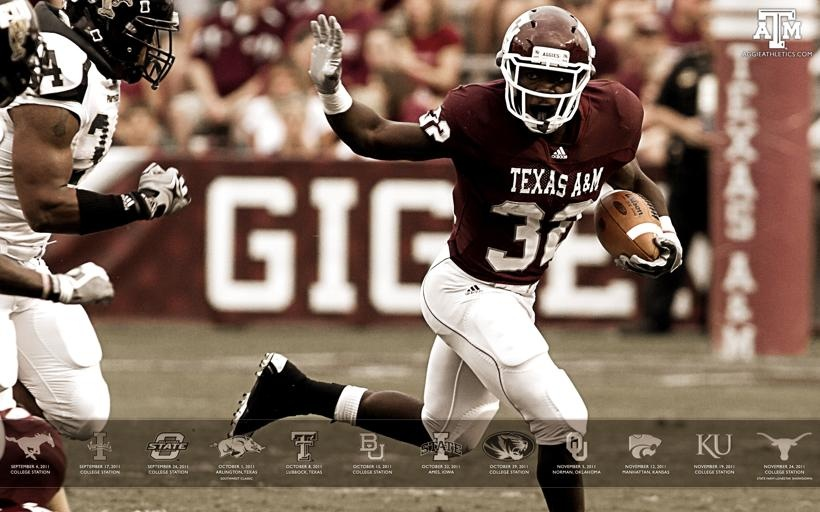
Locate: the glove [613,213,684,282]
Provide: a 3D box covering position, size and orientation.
[{"bbox_3d":[1.300,-0.026,6.122,0.138,0.259,0.355,16,7,-22],"label":"glove"}]

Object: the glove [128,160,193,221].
[{"bbox_3d":[-1.255,-0.335,5.788,0.272,0.283,0.133,22,-6,-30],"label":"glove"}]

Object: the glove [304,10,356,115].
[{"bbox_3d":[-0.406,-0.968,5.842,0.157,0.508,0.202,-28,40,-34],"label":"glove"}]

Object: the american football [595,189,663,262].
[{"bbox_3d":[1.136,-0.157,6.119,0.294,0.249,0.399,24,24,-55],"label":"american football"}]

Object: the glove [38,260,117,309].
[{"bbox_3d":[-1.606,0.132,5.625,0.315,0.231,0.186,2,-1,-19],"label":"glove"}]

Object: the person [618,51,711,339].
[{"bbox_3d":[2.174,-0.575,9.659,0.841,2.083,0.496,6,4,21],"label":"person"}]
